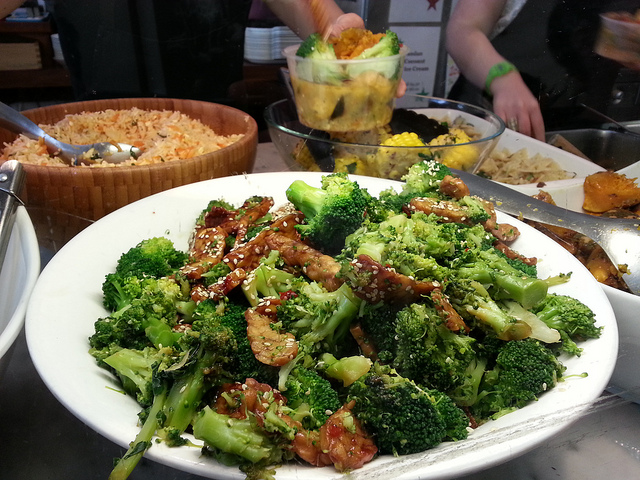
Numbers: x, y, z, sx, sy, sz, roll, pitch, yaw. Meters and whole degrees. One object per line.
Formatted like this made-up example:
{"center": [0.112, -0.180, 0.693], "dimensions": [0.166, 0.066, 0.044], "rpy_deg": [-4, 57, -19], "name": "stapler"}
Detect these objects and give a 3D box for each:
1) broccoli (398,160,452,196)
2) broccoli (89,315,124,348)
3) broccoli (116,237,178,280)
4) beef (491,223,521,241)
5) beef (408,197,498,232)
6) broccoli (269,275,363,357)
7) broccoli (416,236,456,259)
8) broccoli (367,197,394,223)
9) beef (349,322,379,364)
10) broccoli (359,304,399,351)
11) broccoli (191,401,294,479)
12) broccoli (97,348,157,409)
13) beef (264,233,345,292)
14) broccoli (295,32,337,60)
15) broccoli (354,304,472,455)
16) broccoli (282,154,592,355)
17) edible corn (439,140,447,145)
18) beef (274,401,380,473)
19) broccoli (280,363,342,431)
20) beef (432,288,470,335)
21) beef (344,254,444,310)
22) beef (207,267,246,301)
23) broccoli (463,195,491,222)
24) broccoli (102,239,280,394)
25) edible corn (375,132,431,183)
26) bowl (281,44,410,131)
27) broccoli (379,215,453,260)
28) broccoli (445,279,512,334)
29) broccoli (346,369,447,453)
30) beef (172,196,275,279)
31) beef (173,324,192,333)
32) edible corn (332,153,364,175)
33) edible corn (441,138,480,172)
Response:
{"center": [0.354, -0.211, 1.675], "dimensions": [0.135, 0.056, 0.122], "rpy_deg": [-26, 58, -7], "name": "broccoli"}
{"center": [-0.554, 0.232, 1.285], "dimensions": [0.059, 0.033, 0.073], "rpy_deg": [-1, 23, -11], "name": "broccoli"}
{"center": [-0.522, 0.036, 1.480], "dimensions": [0.113, 0.067, 0.130], "rpy_deg": [-15, 24, -14], "name": "broccoli"}
{"center": [0.593, -0.021, 1.585], "dimensions": [0.073, 0.023, 0.057], "rpy_deg": [3, 39, -11], "name": "beef"}
{"center": [0.412, -0.069, 1.556], "dimensions": [0.247, 0.066, 0.120], "rpy_deg": [13, 28, -14], "name": "beef"}
{"center": [0.002, 0.218, 1.382], "dimensions": [0.207, 0.122, 0.199], "rpy_deg": [-35, 72, 2], "name": "broccoli"}
{"center": [0.311, 0.023, 1.336], "dimensions": [0.080, 0.034, 0.053], "rpy_deg": [0, 6, -44], "name": "broccoli"}
{"center": [0.181, -0.090, 1.495], "dimensions": [0.067, 0.042, 0.087], "rpy_deg": [5, 11, -12], "name": "broccoli"}
{"center": [0.115, 0.265, 1.271], "dimensions": [0.037, 0.035, 0.129], "rpy_deg": [-24, 70, -3], "name": "beef"}
{"center": [0.146, 0.226, 1.250], "dimensions": [0.086, 0.047, 0.108], "rpy_deg": [17, 79, 11], "name": "broccoli"}
{"center": [-0.175, 0.435, 1.099], "dimensions": [0.182, 0.071, 0.117], "rpy_deg": [31, 82, 11], "name": "broccoli"}
{"center": [-0.485, 0.353, 1.268], "dimensions": [0.132, 0.061, 0.123], "rpy_deg": [19, 47, 2], "name": "broccoli"}
{"center": [-0.059, 0.042, 1.468], "dimensions": [0.355, 0.085, 0.094], "rpy_deg": [28, 88, 50], "name": "beef"}
{"center": [-0.013, -0.690, 1.786], "dimensions": [0.123, 0.061, 0.098], "rpy_deg": [12, 77, 12], "name": "broccoli"}
{"center": [0.229, 0.354, 1.244], "dimensions": [0.244, 0.127, 0.342], "rpy_deg": [33, 46, 8], "name": "broccoli"}
{"center": [0.318, -0.079, 1.438], "dimensions": [0.572, 0.145, 0.631], "rpy_deg": [19, 5, -35], "name": "broccoli"}
{"center": [0.483, -0.378, 1.954], "dimensions": [0.024, 0.015, 0.024], "rpy_deg": [-4, 22, 1], "name": "edible corn"}
{"center": [0.035, 0.442, 1.096], "dimensions": [0.144, 0.035, 0.148], "rpy_deg": [24, 25, 29], "name": "beef"}
{"center": [-0.020, 0.379, 1.195], "dimensions": [0.115, 0.035, 0.122], "rpy_deg": [-2, 56, -19], "name": "broccoli"}
{"center": [0.303, 0.186, 1.255], "dimensions": [0.103, 0.025, 0.108], "rpy_deg": [53, 12, 2], "name": "beef"}
{"center": [0.184, 0.079, 1.302], "dimensions": [0.243, 0.068, 0.301], "rpy_deg": [-15, 12, -31], "name": "beef"}
{"center": [-0.260, 0.120, 1.422], "dimensions": [0.112, 0.061, 0.027], "rpy_deg": [-32, 89, -35], "name": "beef"}
{"center": [0.490, -0.106, 1.551], "dimensions": [0.063, 0.033, 0.084], "rpy_deg": [-10, 42, -16], "name": "broccoli"}
{"center": [-0.332, 0.171, 1.493], "dimensions": [0.524, 0.171, 0.677], "rpy_deg": [-7, 27, -1], "name": "broccoli"}
{"center": [0.315, -0.338, 1.844], "dimensions": [0.193, 0.057, 0.184], "rpy_deg": [7, 51, 36], "name": "edible corn"}
{"center": [0.099, -0.617, 1.979], "dimensions": [0.507, 0.267, 0.509], "rpy_deg": [-1, 28, 0], "name": "bowl"}
{"center": [0.251, -0.013, 1.386], "dimensions": [0.139, 0.042, 0.137], "rpy_deg": [0, 33, -46], "name": "broccoli"}
{"center": [0.407, 0.173, 1.286], "dimensions": [0.157, 0.072, 0.126], "rpy_deg": [6, 59, 15], "name": "broccoli"}
{"center": [0.209, 0.353, 1.173], "dimensions": [0.256, 0.173, 0.091], "rpy_deg": [8, 54, 16], "name": "broccoli"}
{"center": [-0.299, -0.004, 1.567], "dimensions": [0.190, 0.069, 0.427], "rpy_deg": [17, 49, 34], "name": "beef"}
{"center": [-0.373, 0.239, 1.356], "dimensions": [0.025, 0.013, 0.026], "rpy_deg": [3, 5, 21], "name": "beef"}
{"center": [0.108, -0.280, 1.859], "dimensions": [0.086, 0.085, 0.026], "rpy_deg": [14, 55, -2], "name": "edible corn"}
{"center": [0.529, -0.312, 1.839], "dimensions": [0.112, 0.087, 0.129], "rpy_deg": [-2, 9, 4], "name": "edible corn"}
